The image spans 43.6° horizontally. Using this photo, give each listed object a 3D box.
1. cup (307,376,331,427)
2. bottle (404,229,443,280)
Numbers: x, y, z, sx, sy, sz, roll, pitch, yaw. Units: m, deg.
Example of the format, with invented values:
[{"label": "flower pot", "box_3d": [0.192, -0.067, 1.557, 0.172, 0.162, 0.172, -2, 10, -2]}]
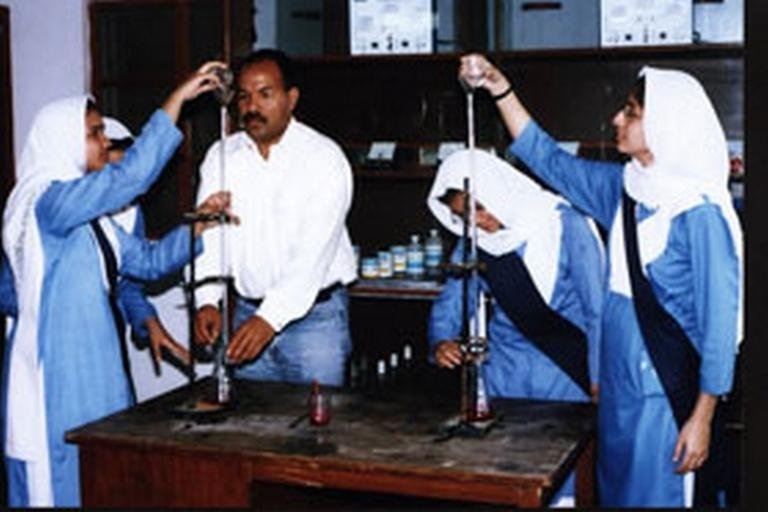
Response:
[{"label": "cup", "box_3d": [-0.226, 0.528, 3.395, 0.076, 0.141, 0.167, -2, 5, -4]}, {"label": "bottle", "box_3d": [0.178, -0.012, 4.179, 0.216, 0.272, 0.108, -2, -5, 36]}]
